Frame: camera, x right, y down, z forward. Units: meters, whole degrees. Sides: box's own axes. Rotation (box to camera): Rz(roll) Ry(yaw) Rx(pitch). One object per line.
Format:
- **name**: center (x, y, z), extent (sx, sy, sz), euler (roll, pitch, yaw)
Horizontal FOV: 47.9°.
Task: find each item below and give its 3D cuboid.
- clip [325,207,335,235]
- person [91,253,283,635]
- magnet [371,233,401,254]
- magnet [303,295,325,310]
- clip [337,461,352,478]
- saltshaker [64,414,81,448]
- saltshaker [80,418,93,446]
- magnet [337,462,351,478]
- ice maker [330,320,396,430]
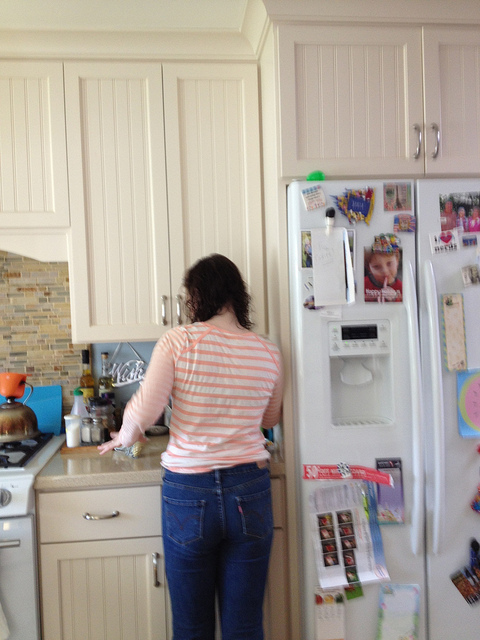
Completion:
- **clip**: center (0.271, -0.297, 1.611), extent (0.025, 0.068, 0.020), euler (-6, 2, -1)
- **person**: center (-0.094, 0.357, 1.531), extent (0.482, 0.965, 0.254), euler (-6, 2, -3)
- **magnet**: center (0.435, -0.233, 1.633), extent (0.064, 0.052, 0.009), euler (0, -4, -3)
- **magnet**: center (0.218, -0.054, 1.619), extent (0.059, 0.038, 0.015), euler (-5, 2, 20)
- **clip**: center (0.313, 0.452, 1.633), extent (0.036, 0.045, 0.012), euler (-13, 0, -5)
- **saltshaker**: center (-0.609, 0.402, 1.973), extent (0.056, 0.118, 0.092), euler (-7, 2, -19)
- **saltshaker**: center (-0.561, 0.409, 1.973), extent (0.049, 0.100, 0.041), euler (-7, 2, -15)
- **magnet**: center (0.314, 0.450, 1.633), extent (0.042, 0.042, 0.012), euler (-1, -1, 2)
- **ice maker**: center (0.362, 0.173, 1.732), extent (0.174, 0.350, 0.189), euler (0, 9, -7)
